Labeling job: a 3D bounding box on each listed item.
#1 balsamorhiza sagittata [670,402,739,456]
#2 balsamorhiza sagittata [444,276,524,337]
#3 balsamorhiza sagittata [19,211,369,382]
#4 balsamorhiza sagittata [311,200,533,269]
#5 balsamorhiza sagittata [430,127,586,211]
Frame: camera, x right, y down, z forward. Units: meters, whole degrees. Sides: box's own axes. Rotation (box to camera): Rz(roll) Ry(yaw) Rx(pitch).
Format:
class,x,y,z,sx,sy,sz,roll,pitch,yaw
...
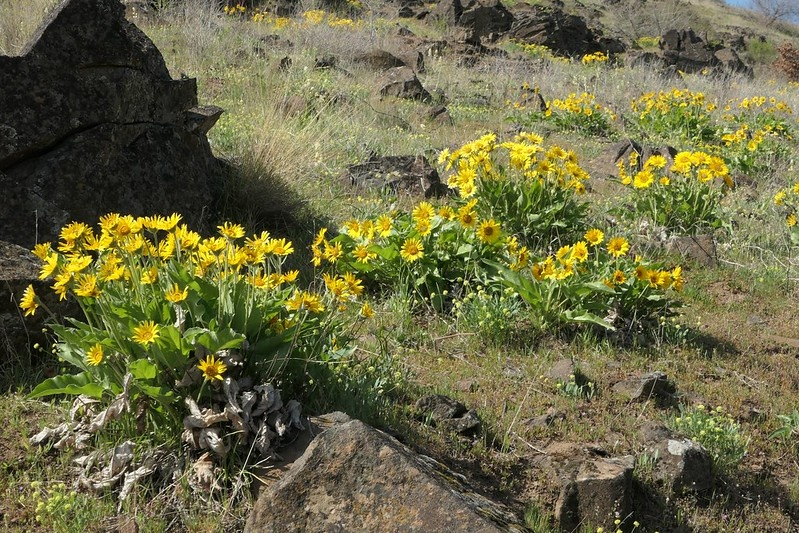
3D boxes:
class,x,y,z,sx,sy,sz,roll,pitch,yaw
balsamorhiza sagittata,2.603,1.442,7.379,0.440,0.331,0.404,15,5,-42
balsamorhiza sagittata,0.823,0.416,8.464,0.467,0.372,0.532,15,16,-7
balsamorhiza sagittata,-1.624,0.192,6.889,2.010,0.998,1.519,5,23,-15
balsamorhiza sagittata,0.131,-0.264,8.690,1.334,0.550,0.914,-13,9,-27
balsamorhiza sagittata,1.211,-1.024,9.610,1.480,0.782,1.096,6,4,-30
